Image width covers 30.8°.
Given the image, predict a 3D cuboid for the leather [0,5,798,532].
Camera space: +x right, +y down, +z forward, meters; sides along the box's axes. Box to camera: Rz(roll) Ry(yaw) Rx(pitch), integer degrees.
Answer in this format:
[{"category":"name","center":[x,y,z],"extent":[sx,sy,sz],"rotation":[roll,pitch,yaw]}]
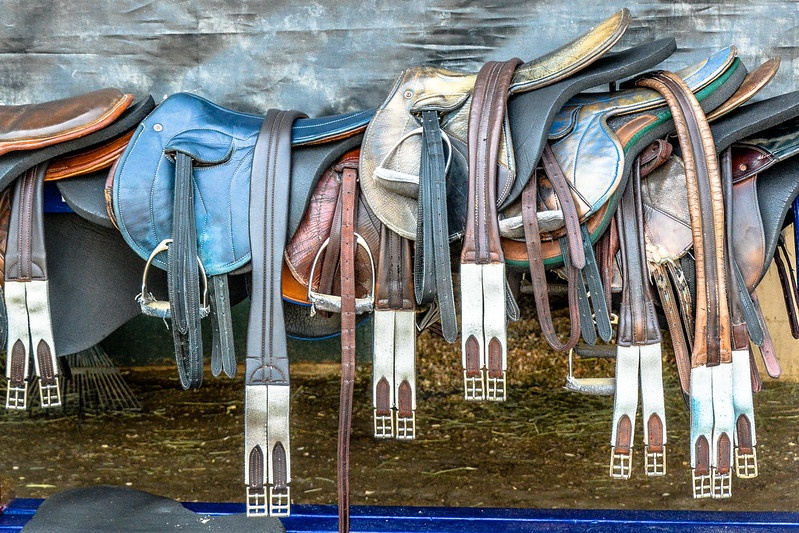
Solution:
[{"category":"leather","center":[-0.262,0.050,5.034],"extent":[2.229,1.652,0.831],"rotation":[-2,-10,-13]}]
